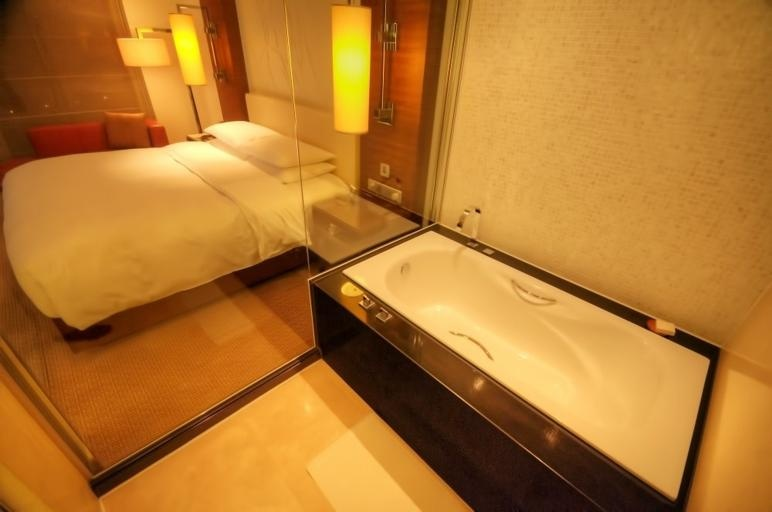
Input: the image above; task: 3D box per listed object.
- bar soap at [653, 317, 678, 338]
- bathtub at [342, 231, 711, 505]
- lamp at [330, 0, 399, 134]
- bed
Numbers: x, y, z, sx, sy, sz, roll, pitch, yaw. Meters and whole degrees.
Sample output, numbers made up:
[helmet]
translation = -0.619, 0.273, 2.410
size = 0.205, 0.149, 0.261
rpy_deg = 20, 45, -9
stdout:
[bar soap]
translation = 1.338, 0.345, 2.387
size = 0.128, 0.063, 0.070
rpy_deg = 18, 45, 26
[bathtub]
translation = 0.699, 0.427, 2.484
size = 1.535, 0.639, 0.683
rpy_deg = 14, 29, 34
[lamp]
translation = -0.172, -0.915, 2.468
size = 0.210, 0.594, 0.081
rpy_deg = -17, 28, -28
[bed]
translation = -1.250, -0.017, 2.805
size = 1.148, 0.274, 1.068
rpy_deg = -23, 47, -33
